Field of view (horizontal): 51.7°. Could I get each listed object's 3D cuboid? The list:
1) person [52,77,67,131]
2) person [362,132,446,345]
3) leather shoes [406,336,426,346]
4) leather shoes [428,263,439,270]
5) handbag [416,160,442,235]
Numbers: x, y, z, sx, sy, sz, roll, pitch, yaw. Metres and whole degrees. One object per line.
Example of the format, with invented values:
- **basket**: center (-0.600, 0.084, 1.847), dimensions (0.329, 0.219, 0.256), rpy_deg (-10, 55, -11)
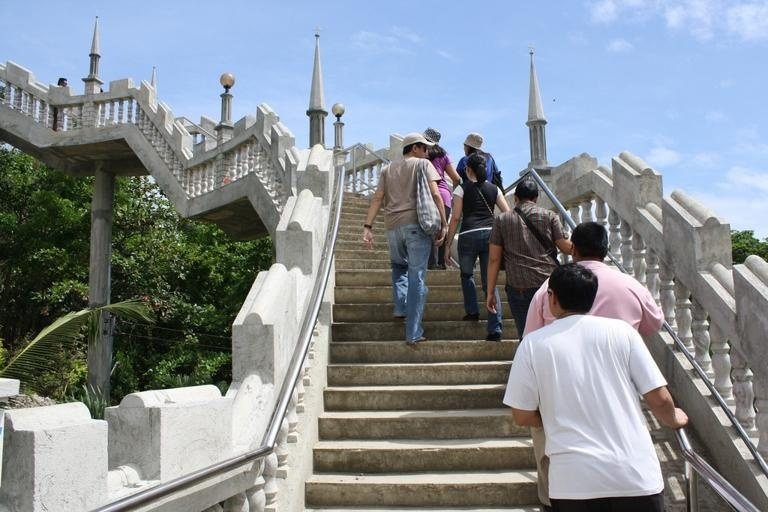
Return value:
- **person**: center (-8.986, -4.233, 21.983), dimensions (0.370, 1.508, 1.352), rpy_deg (-2, 5, -22)
- **person**: center (0.344, -0.260, 9.991), dimensions (1.035, 2.554, 0.956), rpy_deg (5, 7, 43)
- **leather shoes**: center (0.392, 1.030, 9.531), dimensions (0.249, 0.114, 0.094), rpy_deg (1, 0, -16)
- **leather shoes**: center (0.744, 0.163, 11.779), dimensions (0.134, 0.101, 0.079), rpy_deg (0, 3, 11)
- **handbag**: center (0.523, -0.680, 9.715), dimensions (0.361, 0.916, 0.277), rpy_deg (3, 5, 29)
